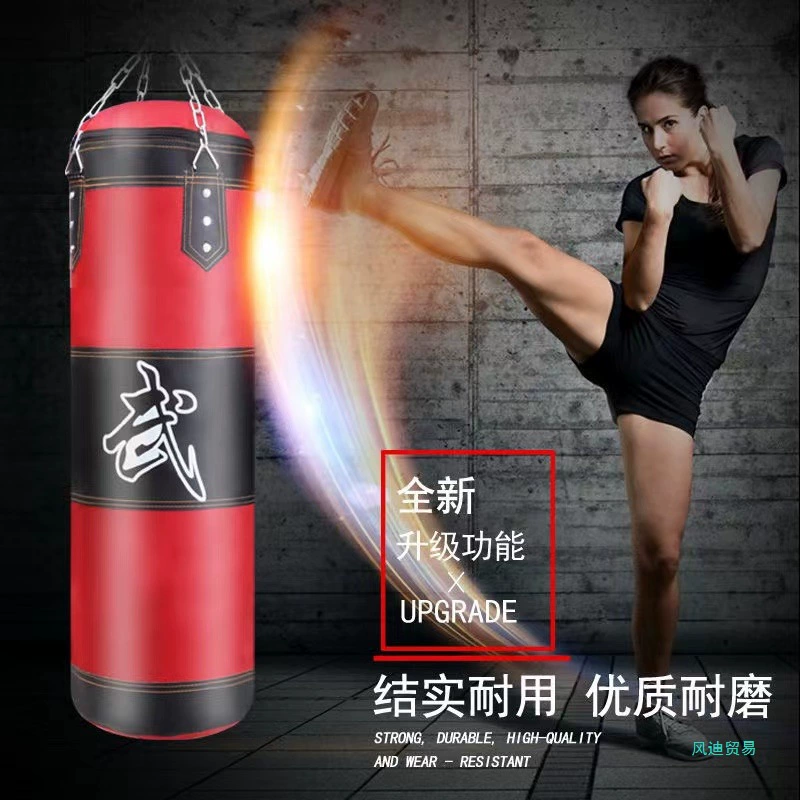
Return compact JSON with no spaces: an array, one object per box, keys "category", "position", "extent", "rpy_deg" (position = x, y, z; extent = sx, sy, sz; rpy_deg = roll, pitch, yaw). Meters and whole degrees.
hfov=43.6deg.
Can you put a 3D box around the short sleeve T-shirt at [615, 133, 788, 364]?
[{"category":"short sleeve T-shirt","position":[1.069,-0.532,3.499],"extent":[0.684,0.730,0.293],"rpy_deg":[17,15,-4]}]

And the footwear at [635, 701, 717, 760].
[{"category":"footwear","position":[0.899,1.090,3.381],"extent":[0.277,0.109,0.144],"rpy_deg":[3,15,43]}]

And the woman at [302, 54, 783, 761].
[{"category":"woman","position":[0.603,0.025,3.397],"extent":[1.344,2.269,0.603],"rpy_deg":[0,8,11]}]

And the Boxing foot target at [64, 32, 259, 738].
[{"category":"Boxing foot target","position":[-0.678,0.047,2.847],"extent":[0.536,1.771,0.341],"rpy_deg":[-2,8,-6]}]
